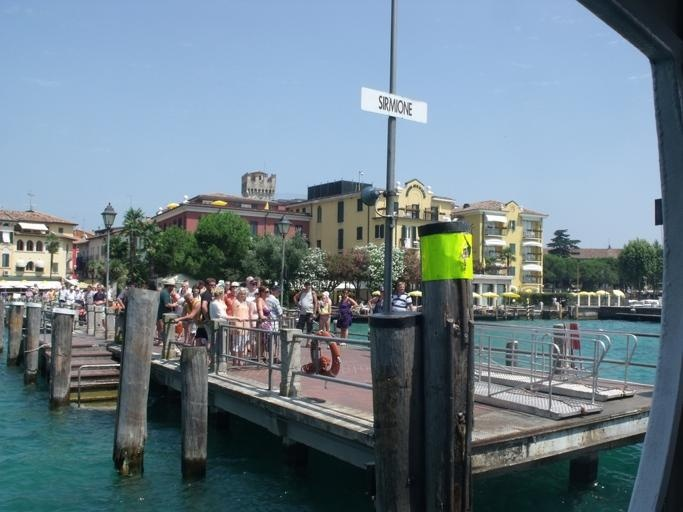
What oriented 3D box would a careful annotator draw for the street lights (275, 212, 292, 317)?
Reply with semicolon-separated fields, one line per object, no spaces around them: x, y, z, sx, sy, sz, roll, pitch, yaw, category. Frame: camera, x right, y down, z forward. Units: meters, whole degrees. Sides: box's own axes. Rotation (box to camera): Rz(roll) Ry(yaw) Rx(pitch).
-1.922;0.293;26.168;0.541;3.189;0.516;1;-2;7;street lights

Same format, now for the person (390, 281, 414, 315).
1.456;0.971;19.261;0.415;0.758;1.332;0;3;5;person
